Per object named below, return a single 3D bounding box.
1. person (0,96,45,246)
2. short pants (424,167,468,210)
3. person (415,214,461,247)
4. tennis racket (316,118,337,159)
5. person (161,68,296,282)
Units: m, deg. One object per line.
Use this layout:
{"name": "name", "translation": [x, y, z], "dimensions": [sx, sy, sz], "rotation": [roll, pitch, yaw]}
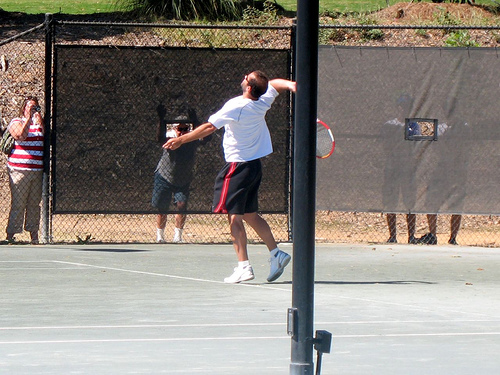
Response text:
{"name": "person", "translation": [-3.418, -0.253, 16.054], "dimensions": [0.602, 2.133, 0.336], "rotation": [0, 4, -14]}
{"name": "short pants", "translation": [3.018, 0.028, 16.194], "dimensions": [0.638, 0.621, 0.057], "rotation": [0, 4, -4]}
{"name": "person", "translation": [3.026, 0.637, 16.815], "dimensions": [0.670, 0.230, 0.967], "rotation": [-10, -17, 3]}
{"name": "tennis racket", "translation": [1.203, -0.736, 16.214], "dimensions": [0.298, 0.618, 0.890], "rotation": [1, 4, 4]}
{"name": "person", "translation": [-0.075, -0.124, 13.318], "dimensions": [1.257, 2.621, 0.489], "rotation": [0, 4, 1]}
